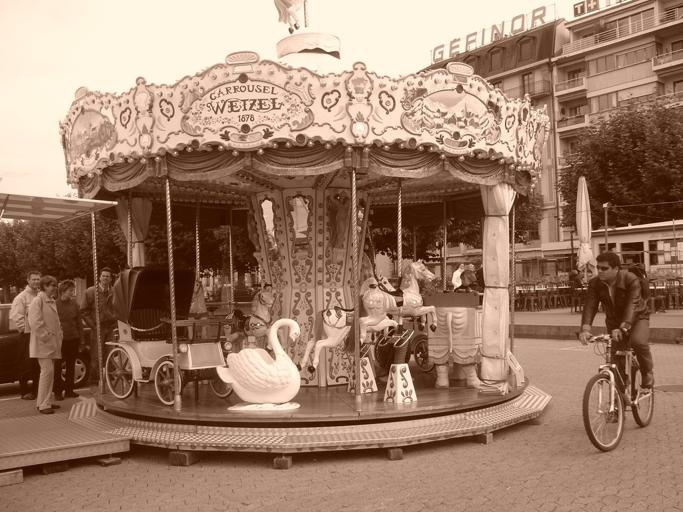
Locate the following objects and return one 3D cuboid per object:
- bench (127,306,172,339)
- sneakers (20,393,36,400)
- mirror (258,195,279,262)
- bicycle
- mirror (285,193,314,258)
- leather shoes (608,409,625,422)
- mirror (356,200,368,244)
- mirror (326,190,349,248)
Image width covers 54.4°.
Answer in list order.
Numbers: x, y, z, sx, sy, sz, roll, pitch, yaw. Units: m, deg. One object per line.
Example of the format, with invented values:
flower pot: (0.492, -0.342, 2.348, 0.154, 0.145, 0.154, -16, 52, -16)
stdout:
bench: (-3.163, 1.106, 10.869, 0.672, 0.556, 0.261, -6, 12, -22)
sneakers: (-6.464, 2.868, 13.611, 0.368, 0.164, 0.213, -1, -2, 10)
mirror: (-1.305, -0.502, 11.906, 0.156, 1.071, 0.606, -7, 12, -28)
bicycle: (3.526, 1.986, 9.321, 0.857, 1.290, 2.052, -8, -11, 34)
mirror: (-0.737, -0.542, 11.668, 0.380, 1.001, 0.357, -2, 11, -5)
leather shoes: (3.650, 2.136, 8.852, 0.211, 0.232, 0.074, -4, -6, -8)
mirror: (0.368, -0.664, 12.173, 0.151, 0.729, 0.510, 1, 11, 9)
mirror: (-0.072, -0.590, 11.833, 0.436, 1.203, 0.079, -3, -18, 16)
